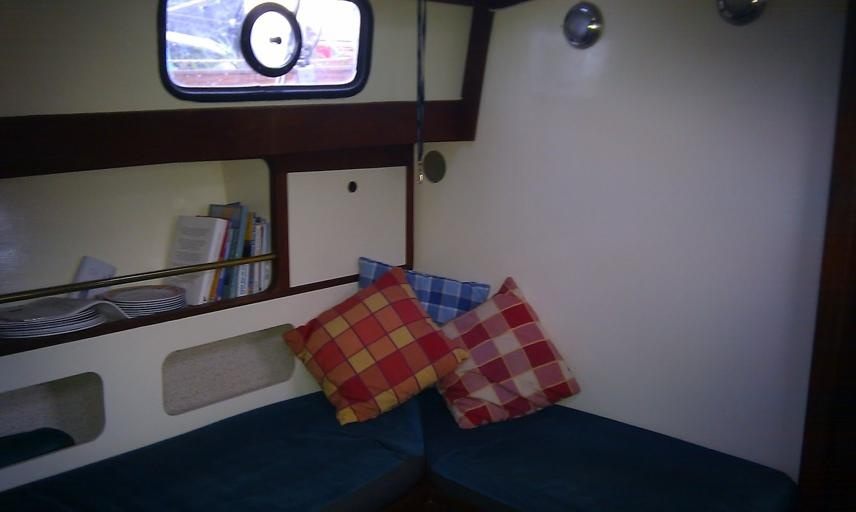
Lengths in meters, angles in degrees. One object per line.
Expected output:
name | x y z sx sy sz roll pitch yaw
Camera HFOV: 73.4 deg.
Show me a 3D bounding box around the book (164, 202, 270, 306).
book | -1.120 0.015 3.054 0.514 0.505 0.295 7 4 35
